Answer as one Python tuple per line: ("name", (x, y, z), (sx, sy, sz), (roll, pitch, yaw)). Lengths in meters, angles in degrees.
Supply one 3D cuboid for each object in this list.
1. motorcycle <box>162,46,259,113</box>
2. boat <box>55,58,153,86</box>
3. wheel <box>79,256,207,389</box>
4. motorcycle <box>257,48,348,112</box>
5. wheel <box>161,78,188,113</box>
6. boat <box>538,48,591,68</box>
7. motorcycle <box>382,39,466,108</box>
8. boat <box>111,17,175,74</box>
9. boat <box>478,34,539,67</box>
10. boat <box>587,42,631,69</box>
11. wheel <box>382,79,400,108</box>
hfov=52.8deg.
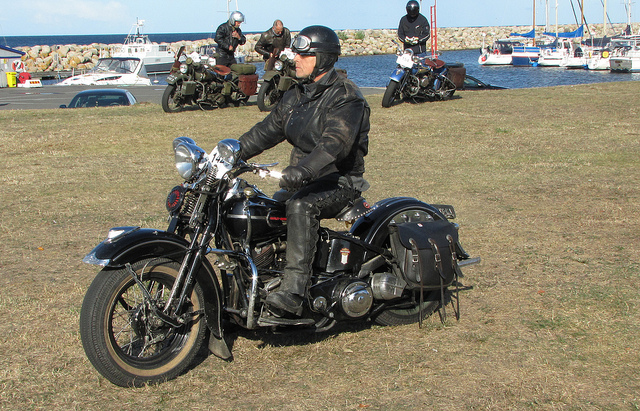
("motorcycle", (-3.182, -3.549, 18.734), (3.252, 1.437, 1.505), (-14, 28, -42))
("boat", (-12.239, -7.852, 38.535), (3.343, 1.341, 4.508), (3, 5, 35))
("wheel", (-1.848, 1.254, 6.837), (1.491, 1.266, 0.399), (-13, 15, -37))
("motorcycle", (-0.372, -3.697, 18.549), (3.215, 1.624, 1.355), (-13, 22, -31))
("wheel", (-4.123, -3.128, 18.325), (0.730, 0.957, 0.627), (-1, 14, -2))
("boat", (25.671, -14.604, 63.874), (6.139, 1.659, 1.638), (-1, 21, 3))
("motorcycle", (2.921, -3.812, 19.195), (2.431, 1.693, 0.863), (-12, 18, -39))
("boat", (-14.486, -12.590, 52.056), (7.822, 3.873, 2.566), (-12, 25, -42))
("boat", (23.017, -17.204, 73.293), (8.470, 2.735, 4.221), (-10, 20, -20))
("boat", (26.833, -13.307, 58.401), (5.820, 1.669, 1.465), (-8, 5, -16))
("wheel", (2.064, -3.275, 18.852), (0.420, 0.802, 0.559), (10, 17, 36))
